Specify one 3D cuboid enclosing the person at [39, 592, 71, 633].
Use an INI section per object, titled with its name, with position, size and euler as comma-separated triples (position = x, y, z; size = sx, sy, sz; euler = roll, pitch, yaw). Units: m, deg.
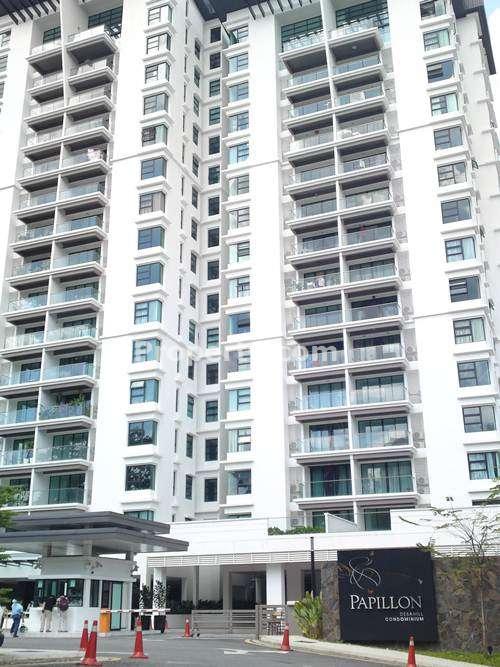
[person]
position = -7.717, 11.069, 22.639
size = 1.045, 1.337, 1.943
euler = 4, -20, -16
